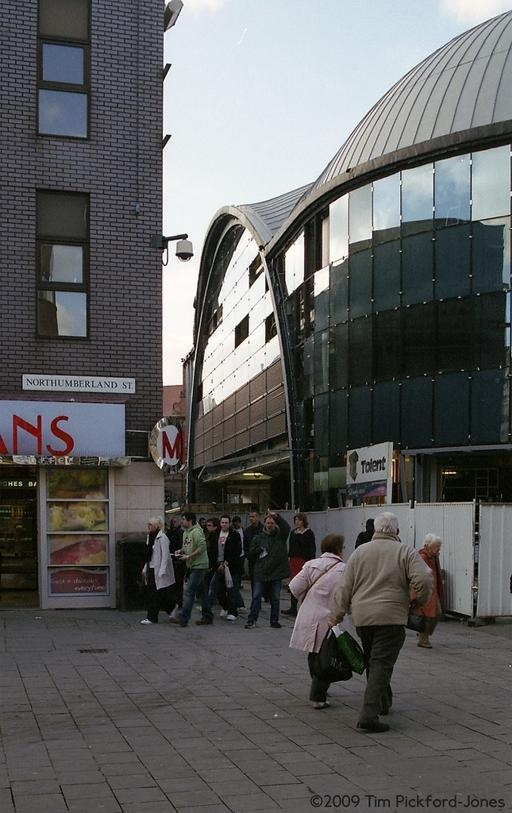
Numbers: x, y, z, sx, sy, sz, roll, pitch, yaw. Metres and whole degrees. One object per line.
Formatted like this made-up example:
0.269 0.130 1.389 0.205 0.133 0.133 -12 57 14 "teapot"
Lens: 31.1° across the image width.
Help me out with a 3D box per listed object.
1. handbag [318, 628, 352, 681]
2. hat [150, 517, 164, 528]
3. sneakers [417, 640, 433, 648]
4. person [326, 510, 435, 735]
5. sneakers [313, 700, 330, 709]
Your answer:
0.602 1.906 7.008 0.176 0.387 0.356 0 -23 -6 "handbag"
-1.565 1.805 14.313 0.128 0.163 0.162 22 -9 47 "hat"
2.076 2.936 11.329 0.072 0.113 0.243 -1 -12 -20 "sneakers"
0.889 1.523 6.672 0.597 1.446 0.748 0 -2 -15 "person"
0.509 2.342 7.257 0.054 0.062 0.135 2 5 36 "sneakers"
